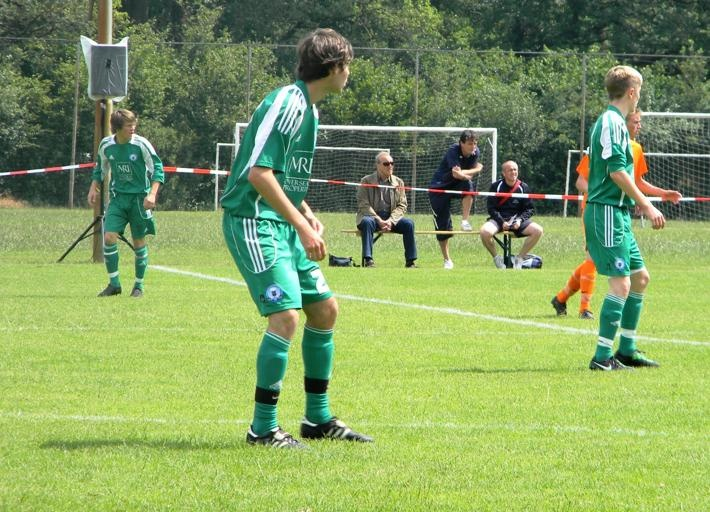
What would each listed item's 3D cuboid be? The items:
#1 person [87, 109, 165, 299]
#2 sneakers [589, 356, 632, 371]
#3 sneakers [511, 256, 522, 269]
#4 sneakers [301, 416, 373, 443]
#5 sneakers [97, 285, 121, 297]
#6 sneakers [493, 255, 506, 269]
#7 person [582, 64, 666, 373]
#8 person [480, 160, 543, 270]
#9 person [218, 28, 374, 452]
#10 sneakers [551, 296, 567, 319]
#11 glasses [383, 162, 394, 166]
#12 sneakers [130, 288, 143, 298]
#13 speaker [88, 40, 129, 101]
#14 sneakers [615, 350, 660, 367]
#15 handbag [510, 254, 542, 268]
[{"bbox_3d":[-2.894,-0.707,13.773,0.811,2.324,1.300,-1,9,-13],"label":"person"},{"bbox_3d":[2.374,1.010,9.889,0.410,0.167,0.137,-1,2,-14],"label":"sneakers"},{"bbox_3d":[2.558,0.105,17.087,0.247,0.200,0.151,8,11,40],"label":"sneakers"},{"bbox_3d":[-0.117,1.336,8.193,0.575,0.194,0.197,2,-4,7],"label":"sneakers"},{"bbox_3d":[-3.080,0.458,13.465,0.305,0.133,0.114,-3,-2,7],"label":"sneakers"},{"bbox_3d":[2.326,0.127,17.219,0.129,0.304,0.101,-9,-15,-47],"label":"sneakers"},{"bbox_3d":[2.586,-0.335,10.189,0.824,2.939,1.006,0,-3,31],"label":"person"},{"bbox_3d":[2.505,-0.641,17.067,0.982,1.716,0.757,2,8,7],"label":"person"},{"bbox_3d":[-0.504,-0.163,8.123,1.006,3.119,0.775,-1,8,-9],"label":"person"},{"bbox_3d":[2.359,0.593,12.338,0.144,0.300,0.107,-18,14,9],"label":"sneakers"},{"bbox_3d":[0.544,-1.472,17.199,0.094,0.070,0.191,9,12,44],"label":"glasses"},{"bbox_3d":[-2.748,0.473,13.430,0.099,0.112,0.250,0,-3,-12],"label":"sneakers"},{"bbox_3d":[-3.874,-3.028,16.885,0.669,0.939,0.652,-8,25,-30],"label":"speaker"},{"bbox_3d":[2.611,0.982,9.967,0.412,0.162,0.151,4,-1,1],"label":"sneakers"},{"bbox_3d":[2.725,0.080,17.127,0.238,0.147,0.315,-2,10,-34],"label":"handbag"}]
